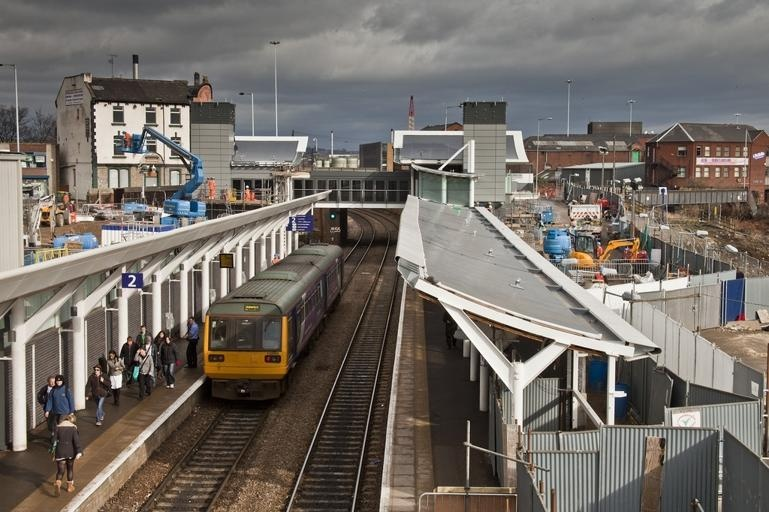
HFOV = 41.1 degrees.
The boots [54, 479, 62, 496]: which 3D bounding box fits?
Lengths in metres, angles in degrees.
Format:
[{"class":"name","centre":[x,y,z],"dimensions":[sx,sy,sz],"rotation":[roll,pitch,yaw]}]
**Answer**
[{"class":"boots","centre":[-9.278,6.596,29.153],"dimensions":[0.187,0.566,0.239],"rotation":[2,7,-8]}]

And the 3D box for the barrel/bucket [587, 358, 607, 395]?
[{"class":"barrel/bucket","centre":[7.306,4.083,35.580],"dimensions":[0.599,1.075,0.822],"rotation":[0,10,16]}]

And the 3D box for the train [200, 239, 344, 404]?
[{"class":"train","centre":[-4.379,1.979,44.076],"dimensions":[3.361,4.144,17.202],"rotation":[-2,10,5]}]

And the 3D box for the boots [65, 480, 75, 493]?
[{"class":"boots","centre":[-8.986,6.613,29.359],"dimensions":[0.169,0.261,0.369],"rotation":[2,15,2]}]
